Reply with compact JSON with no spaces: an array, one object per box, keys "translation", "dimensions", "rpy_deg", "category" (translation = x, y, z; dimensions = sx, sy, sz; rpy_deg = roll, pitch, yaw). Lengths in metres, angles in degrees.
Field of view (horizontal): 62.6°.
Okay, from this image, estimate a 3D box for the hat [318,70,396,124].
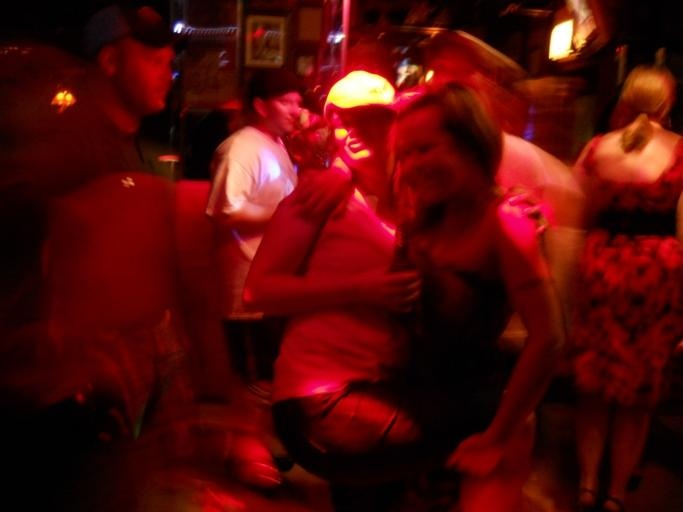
[{"translation":[0.065,-0.534,1.864],"dimensions":[0.230,0.151,0.134],"rpy_deg":[18,24,32],"category":"hat"}]
